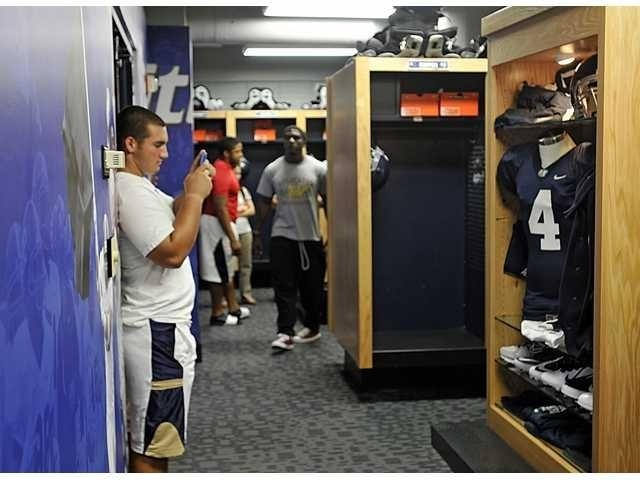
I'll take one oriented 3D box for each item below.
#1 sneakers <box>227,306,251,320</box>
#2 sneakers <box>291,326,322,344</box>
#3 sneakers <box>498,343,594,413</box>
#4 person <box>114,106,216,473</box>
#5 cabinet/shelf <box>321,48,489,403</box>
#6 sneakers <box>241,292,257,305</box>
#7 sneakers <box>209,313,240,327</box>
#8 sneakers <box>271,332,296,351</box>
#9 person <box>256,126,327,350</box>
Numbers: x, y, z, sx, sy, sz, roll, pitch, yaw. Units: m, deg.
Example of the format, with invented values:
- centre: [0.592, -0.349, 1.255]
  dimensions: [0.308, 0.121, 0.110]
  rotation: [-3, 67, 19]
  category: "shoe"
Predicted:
- centre: [-0.943, 0.858, 6.047]
  dimensions: [0.231, 0.097, 0.123]
  rotation: [-10, 11, -43]
  category: "sneakers"
- centre: [-0.125, 0.964, 5.142]
  dimensions: [0.298, 0.119, 0.116]
  rotation: [3, -4, -32]
  category: "sneakers"
- centre: [1.106, 0.635, 2.453]
  dimensions: [0.125, 0.160, 0.377]
  rotation: [10, -4, -2]
  category: "sneakers"
- centre: [-0.686, 0.233, 2.293]
  dimensions: [0.404, 1.645, 0.410]
  rotation: [-4, 6, -33]
  category: "person"
- centre: [0.666, -0.102, 3.965]
  dimensions: [1.237, 2.486, 0.893]
  rotation: [0, 5, 6]
  category: "cabinet/shelf"
- centre: [-0.974, 0.795, 6.895]
  dimensions: [0.275, 0.190, 0.096]
  rotation: [1, 2, 15]
  category: "sneakers"
- centre: [-1.075, 0.905, 5.792]
  dimensions: [0.251, 0.093, 0.145]
  rotation: [-1, 4, -10]
  category: "sneakers"
- centre: [-0.354, 0.970, 4.848]
  dimensions: [0.101, 0.122, 0.284]
  rotation: [-1, -12, 14]
  category: "sneakers"
- centre: [-0.225, -0.014, 4.928]
  dimensions: [0.577, 2.101, 0.434]
  rotation: [-1, 5, -6]
  category: "person"
